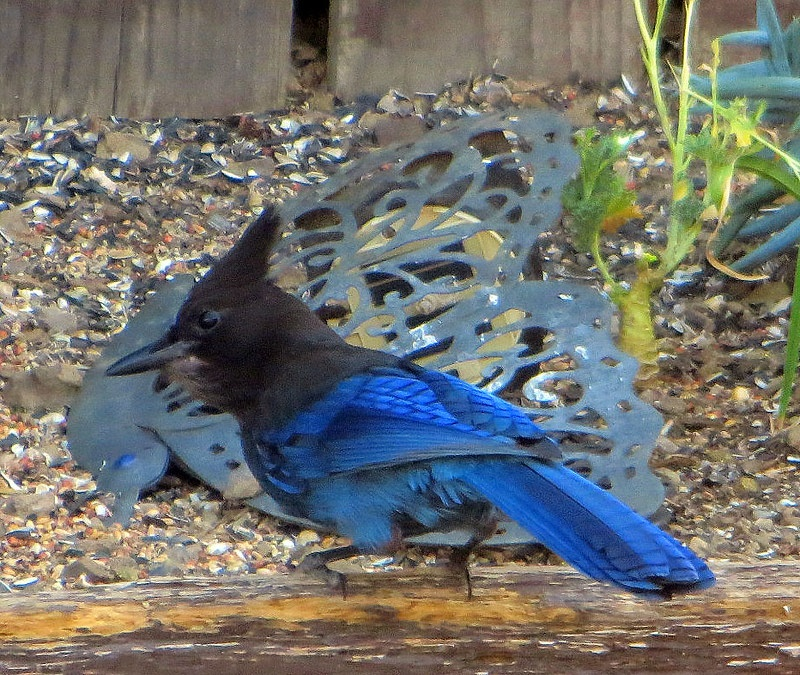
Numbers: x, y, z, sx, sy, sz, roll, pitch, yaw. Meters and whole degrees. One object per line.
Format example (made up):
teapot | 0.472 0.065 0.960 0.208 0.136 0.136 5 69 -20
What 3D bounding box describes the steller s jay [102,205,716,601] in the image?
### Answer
steller s jay | 0.013 0.092 3.523 0.445 0.717 1.441 -9 6 -39
